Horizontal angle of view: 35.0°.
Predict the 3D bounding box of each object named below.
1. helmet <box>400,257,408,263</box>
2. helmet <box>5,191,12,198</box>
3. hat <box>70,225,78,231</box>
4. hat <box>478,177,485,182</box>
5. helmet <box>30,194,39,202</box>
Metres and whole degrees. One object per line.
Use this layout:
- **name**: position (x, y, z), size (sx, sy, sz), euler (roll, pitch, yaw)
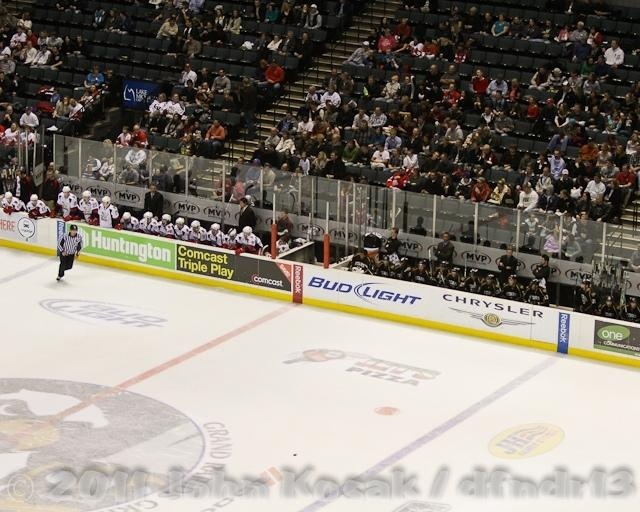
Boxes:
- **helmet**: position (1.968, 0.113, 23.480), size (0.205, 0.114, 0.188), euler (6, 3, 2)
- **helmet**: position (-8.234, -1.593, 26.781), size (0.142, 0.174, 0.184), euler (-2, -18, -15)
- **hat**: position (-6.083, -0.679, 25.049), size (0.149, 0.191, 0.193), euler (4, -12, 20)
- **hat**: position (3.832, -1.785, 23.990), size (0.150, 0.121, 0.311), euler (6, 3, 6)
- **helmet**: position (-7.496, -1.514, 26.558), size (0.163, 0.200, 0.214), euler (-2, 9, -8)
